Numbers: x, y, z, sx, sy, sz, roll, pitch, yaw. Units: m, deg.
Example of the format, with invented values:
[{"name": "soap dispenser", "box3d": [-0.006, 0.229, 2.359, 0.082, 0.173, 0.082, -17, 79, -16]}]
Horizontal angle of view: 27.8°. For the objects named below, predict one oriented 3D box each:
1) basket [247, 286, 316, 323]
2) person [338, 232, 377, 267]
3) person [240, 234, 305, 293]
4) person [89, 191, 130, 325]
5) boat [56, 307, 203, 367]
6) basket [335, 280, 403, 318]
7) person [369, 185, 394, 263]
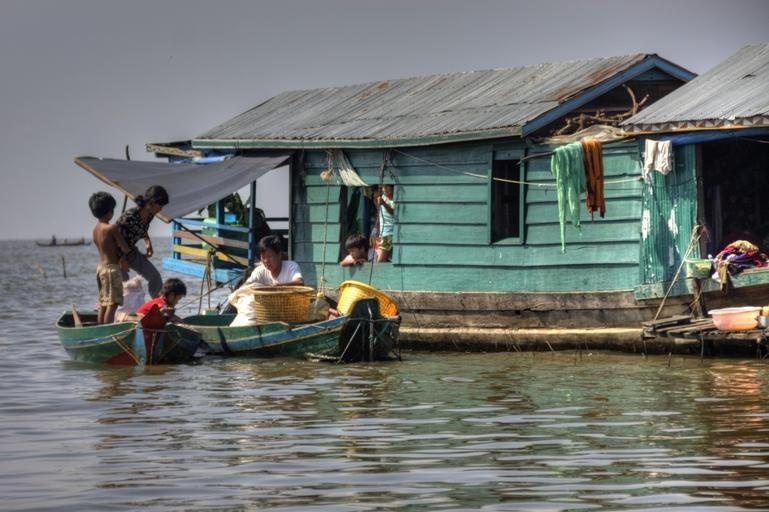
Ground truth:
[{"name": "basket", "box3d": [-1.687, 0.812, 25.872, 0.777, 0.309, 0.821, -2, 2, -40]}, {"name": "person", "box3d": [-0.531, -0.093, 28.581, 0.509, 0.603, 0.723, 1, 1, -2]}, {"name": "person", "box3d": [-1.859, 0.093, 26.228, 0.941, 0.833, 0.421, 1, 1, -5]}, {"name": "person", "box3d": [-4.542, 0.040, 25.700, 0.615, 2.157, 0.543, 1, 1, -5]}, {"name": "boat", "box3d": [-4.471, 1.361, 25.892, 1.220, 0.552, 1.826, 2, 0, -33]}, {"name": "basket", "box3d": [-0.518, 0.787, 26.595, 1.230, 0.499, 1.451, -4, -10, 45]}, {"name": "person", "box3d": [-0.018, -0.609, 28.822, 0.400, 1.430, 0.916, 1, 1, -1]}]
